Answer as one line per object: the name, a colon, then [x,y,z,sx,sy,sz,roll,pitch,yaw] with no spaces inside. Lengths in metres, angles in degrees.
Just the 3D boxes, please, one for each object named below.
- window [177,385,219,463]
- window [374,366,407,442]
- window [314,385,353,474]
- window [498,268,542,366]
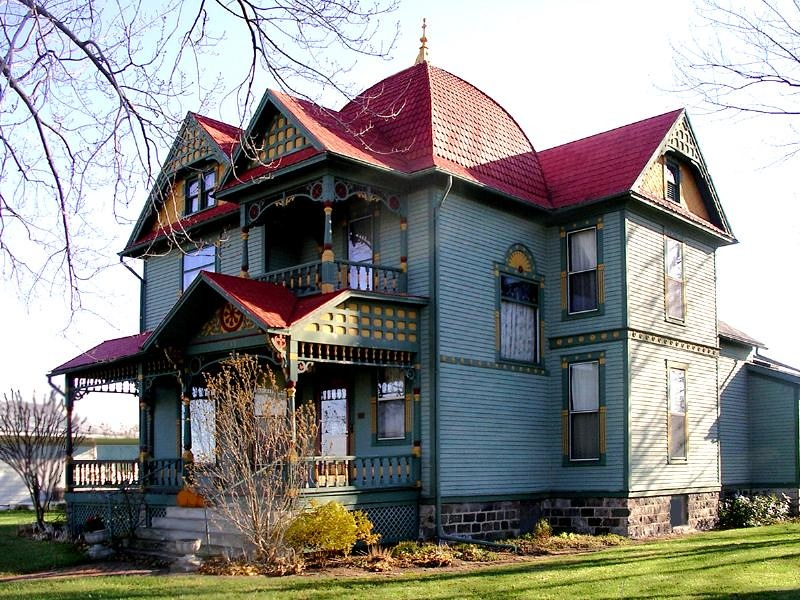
window: [-5.428,3.338,28.234,0.099,2.438,1.982,8,-15,-38]
window: [-0.168,2.664,27.118,0.828,1.803,0.047,-4,-19,22]
window: [-1.814,3.449,28.230,0.830,2.504,0.125,-3,22,-15]
window: [3.182,0.558,28.656,2.136,3.066,0.131,8,-11,-35]
